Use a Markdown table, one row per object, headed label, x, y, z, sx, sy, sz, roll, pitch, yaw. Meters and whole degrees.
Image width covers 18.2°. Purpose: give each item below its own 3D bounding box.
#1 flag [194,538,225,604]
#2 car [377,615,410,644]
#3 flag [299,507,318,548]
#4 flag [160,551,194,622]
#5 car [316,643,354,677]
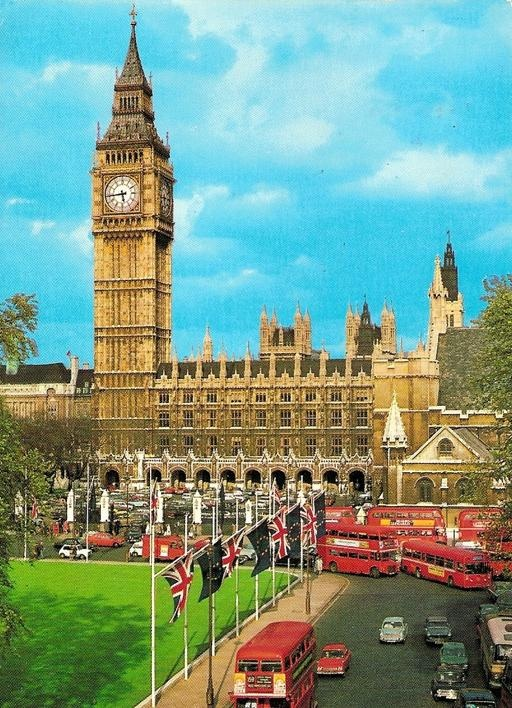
| label | x | y | z | sx | sy | sz | roll | pitch | yaw |
| --- | --- | --- | --- | --- | --- | --- | --- | --- | --- |
| flag | -2.034 | 9.564 | 69.390 | 0.340 | 3.805 | 4.771 | 4 | -2 | 14 |
| car | 5.988 | 12.320 | 70.346 | 1.144 | 1.044 | 2.002 | -3 | -7 | 7 |
| flag | 2.617 | 8.968 | 82.885 | 0.318 | 2.039 | 2.426 | -3 | -7 | 12 |
| flag | -3.101 | 9.339 | 63.202 | 1.126 | 2.726 | 2.671 | -1 | -7 | -3 |
| car | 3.084 | 12.604 | 64.985 | 1.228 | 1.129 | 1.926 | -3 | -7 | 7 |
